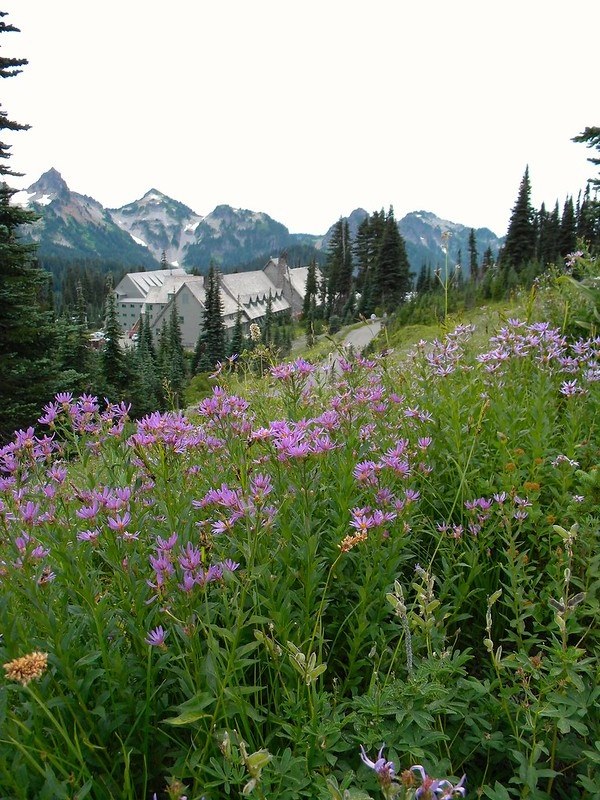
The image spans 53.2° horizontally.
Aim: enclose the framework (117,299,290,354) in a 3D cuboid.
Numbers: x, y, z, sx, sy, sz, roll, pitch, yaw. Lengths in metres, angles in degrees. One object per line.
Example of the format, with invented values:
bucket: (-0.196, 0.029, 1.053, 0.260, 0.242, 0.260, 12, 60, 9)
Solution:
framework: (-12.373, -10.170, 80.454, 16.941, 6.301, 18.115, 1, 18, 11)
